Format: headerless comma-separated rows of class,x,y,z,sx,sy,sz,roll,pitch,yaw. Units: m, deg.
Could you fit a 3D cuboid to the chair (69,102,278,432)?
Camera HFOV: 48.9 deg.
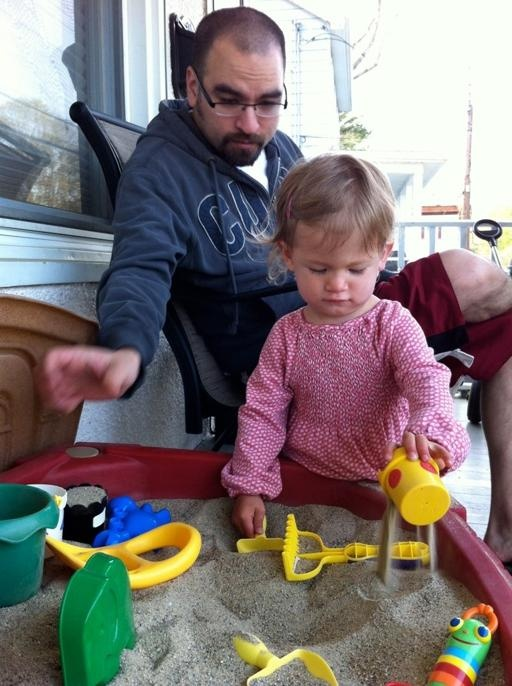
chair,-0.176,-0.322,1.684,0.550,0.711,0.443,0,10,21
